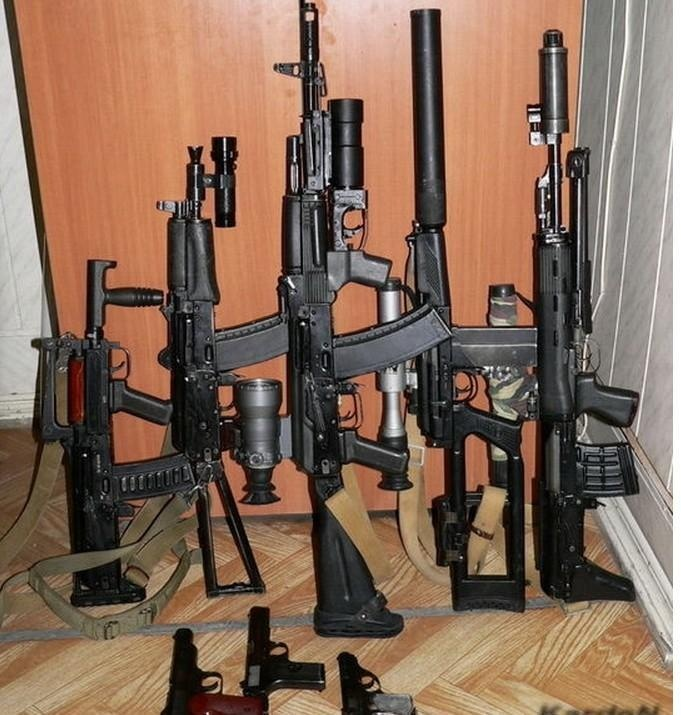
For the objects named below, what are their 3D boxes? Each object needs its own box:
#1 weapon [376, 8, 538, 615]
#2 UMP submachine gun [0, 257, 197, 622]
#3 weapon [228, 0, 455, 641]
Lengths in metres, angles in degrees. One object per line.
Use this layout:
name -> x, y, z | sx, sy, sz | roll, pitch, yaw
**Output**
weapon -> 0.376, -0.087, 2.554 | 0.373, 1.898, 0.386 | -1, 1, -5
UMP submachine gun -> -0.751, 0.200, 2.704 | 0.676, 1.112, 0.391 | -1, 3, -20
weapon -> 0.008, -0.172, 2.526 | 0.907, 1.965, 0.203 | -2, 2, 3
